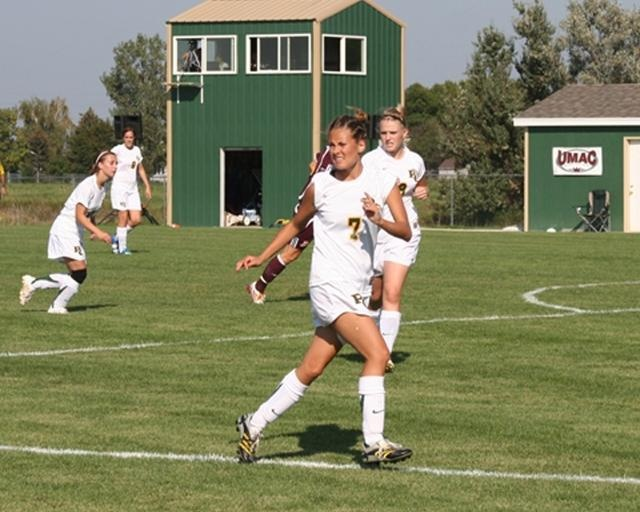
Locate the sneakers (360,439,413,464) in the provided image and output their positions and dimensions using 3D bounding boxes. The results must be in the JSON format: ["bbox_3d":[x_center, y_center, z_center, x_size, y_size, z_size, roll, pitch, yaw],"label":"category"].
[{"bbox_3d":[0.575,1.664,11.128,0.399,0.220,0.189,-3,1,10],"label":"sneakers"}]

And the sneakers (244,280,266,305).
[{"bbox_3d":[-0.799,0.485,16.213,0.185,0.467,0.157,-7,-4,26],"label":"sneakers"}]

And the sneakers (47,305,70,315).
[{"bbox_3d":[-3.311,0.697,16.567,0.196,0.099,0.120,2,6,20],"label":"sneakers"}]

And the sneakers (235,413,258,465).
[{"bbox_3d":[-0.614,1.576,11.273,0.195,0.403,0.186,1,7,-4],"label":"sneakers"}]

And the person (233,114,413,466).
[{"bbox_3d":[0.147,0.287,11.297,1.370,2.966,0.841,2,7,4],"label":"person"}]

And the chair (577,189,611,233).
[{"bbox_3d":[7.879,-1.206,37.053,1.123,1.164,1.188,0,-4,-6],"label":"chair"}]
